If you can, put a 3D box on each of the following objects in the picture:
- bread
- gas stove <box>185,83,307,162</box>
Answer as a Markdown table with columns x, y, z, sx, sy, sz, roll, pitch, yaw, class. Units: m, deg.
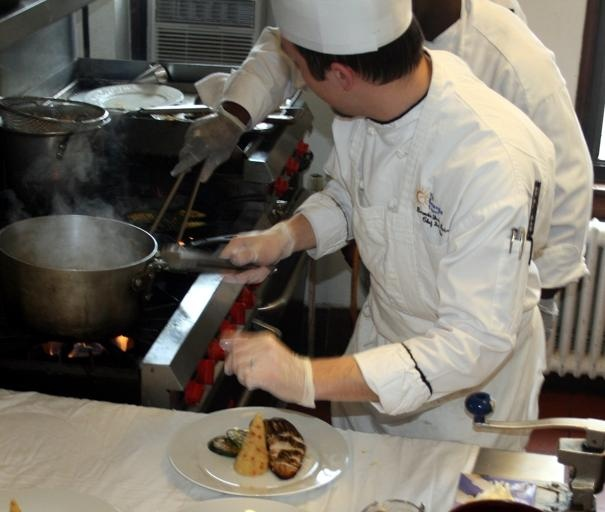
| x | y | z | sx | sy | sz | roll | pitch | yaw | class |
| --- | --- | --- | --- | --- | --- | --- | --- | --- | --- |
| -0.052 | 0.336 | 0.956 | 0.074 | 0.032 | 0.115 | 14 | 38 | 4 | bread |
| -0.140 | -0.454 | 2.077 | 0.305 | 0.083 | 0.314 | -27 | 12 | -26 | gas stove |
